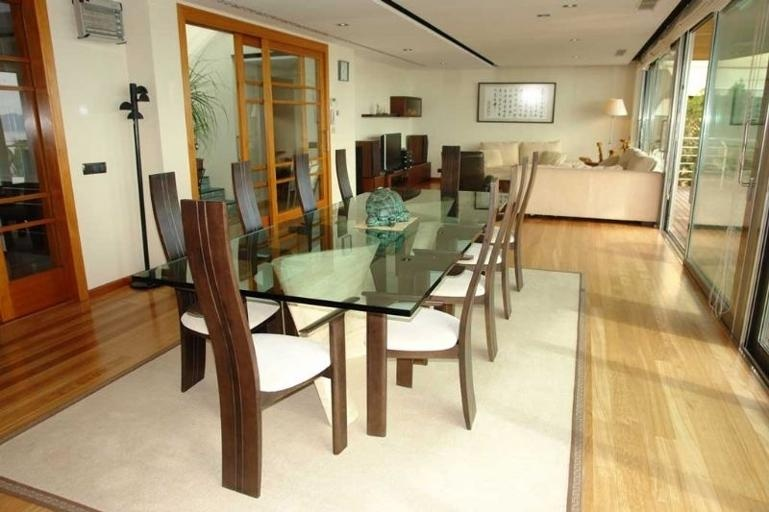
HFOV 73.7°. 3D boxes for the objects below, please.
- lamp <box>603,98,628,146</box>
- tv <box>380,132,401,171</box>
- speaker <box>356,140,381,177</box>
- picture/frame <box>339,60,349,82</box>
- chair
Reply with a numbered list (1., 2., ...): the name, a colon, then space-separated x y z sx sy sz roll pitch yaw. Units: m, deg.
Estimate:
1. lamp: 4.908 -2.865 11.013 0.449 0.974 0.940 8 19 24
2. tv: 0.115 -2.148 10.729 0.236 0.568 0.807 3 22 17
3. speaker: -0.335 -1.876 9.937 0.400 0.659 0.689 4 13 18
4. picture/frame: -0.667 -3.017 8.383 0.049 0.276 0.375 5 15 20
5. chair: -0.381 0.493 3.637 1.419 1.235 2.422 8 19 19
